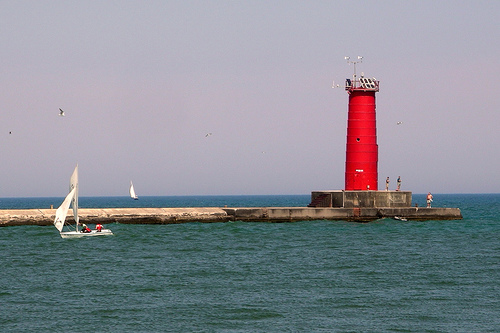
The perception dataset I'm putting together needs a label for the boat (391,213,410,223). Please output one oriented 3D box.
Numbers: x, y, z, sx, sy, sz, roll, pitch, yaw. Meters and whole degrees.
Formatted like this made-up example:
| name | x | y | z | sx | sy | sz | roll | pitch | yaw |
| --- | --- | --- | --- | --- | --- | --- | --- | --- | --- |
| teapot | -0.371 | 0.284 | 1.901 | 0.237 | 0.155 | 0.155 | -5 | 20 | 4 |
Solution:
| name | x | y | z | sx | sy | sz | roll | pitch | yaw |
| --- | --- | --- | --- | --- | --- | --- | --- | --- | --- |
| boat | 13.889 | 4.699 | 110.062 | 2.099 | 0.513 | 0.489 | -15 | 3 | -32 |
